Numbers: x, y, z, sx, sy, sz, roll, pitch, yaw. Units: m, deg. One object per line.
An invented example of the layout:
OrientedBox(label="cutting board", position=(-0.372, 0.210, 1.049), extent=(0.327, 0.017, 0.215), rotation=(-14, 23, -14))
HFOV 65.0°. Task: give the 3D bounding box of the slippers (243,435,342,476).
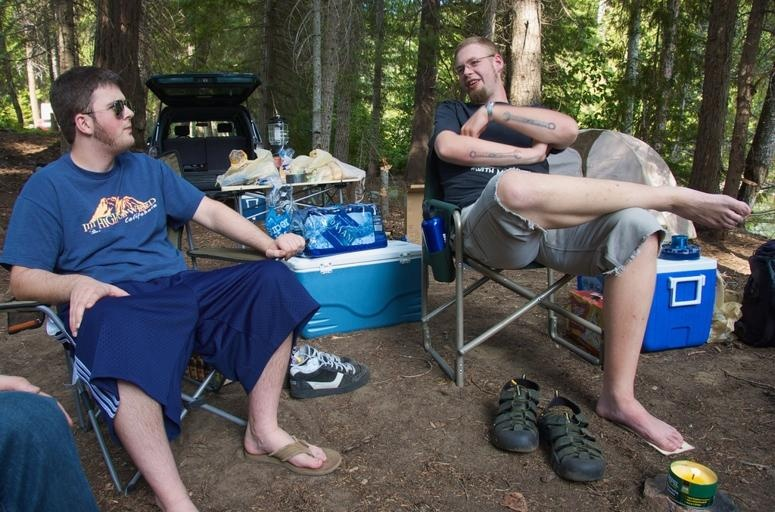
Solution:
OrientedBox(label="slippers", position=(-0.523, 1.073, 3.302), extent=(0.540, 0.163, 0.135), rotation=(1, 17, 2))

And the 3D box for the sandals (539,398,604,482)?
OrientedBox(label="sandals", position=(1.001, 1.000, 3.351), extent=(0.198, 0.174, 0.474), rotation=(-6, 14, -2))

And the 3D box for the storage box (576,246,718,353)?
OrientedBox(label="storage box", position=(1.877, 0.336, 4.444), extent=(0.627, 0.697, 1.029), rotation=(-4, 10, -18))

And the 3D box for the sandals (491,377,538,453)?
OrientedBox(label="sandals", position=(0.748, 0.908, 3.499), extent=(0.250, 0.257, 0.419), rotation=(5, 18, 14))

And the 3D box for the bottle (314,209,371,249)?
OrientedBox(label="bottle", position=(-0.325, -0.213, 4.524), extent=(0.468, 0.253, 0.313), rotation=(-4, 42, -23))

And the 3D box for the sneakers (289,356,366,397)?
OrientedBox(label="sneakers", position=(-0.373, 0.739, 3.871), extent=(0.520, 0.234, 0.197), rotation=(-8, 27, -13))

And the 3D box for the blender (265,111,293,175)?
OrientedBox(label="blender", position=(-1.238, -1.271, 6.943), extent=(0.288, 0.692, 0.279), rotation=(-12, 21, -35))

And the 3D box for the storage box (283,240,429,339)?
OrientedBox(label="storage box", position=(-0.165, 0.232, 4.452), extent=(0.944, 0.486, 0.677), rotation=(-6, 12, -27))

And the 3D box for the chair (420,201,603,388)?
OrientedBox(label="chair", position=(0.822, 0.147, 4.210), extent=(1.109, 1.107, 0.845), rotation=(-6, 12, -15))
